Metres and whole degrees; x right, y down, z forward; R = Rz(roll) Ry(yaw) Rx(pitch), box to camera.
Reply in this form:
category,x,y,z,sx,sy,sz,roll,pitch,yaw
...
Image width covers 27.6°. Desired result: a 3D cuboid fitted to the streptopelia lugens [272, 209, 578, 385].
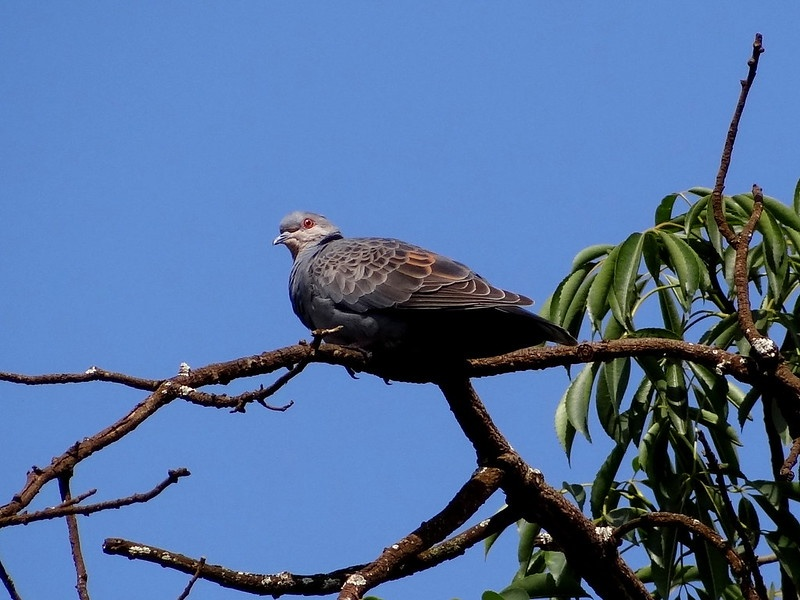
category,x,y,z,sx,sy,sz,roll,pitch,yaw
streptopelia lugens,0.085,-0.078,9.494,1.682,1.015,0.722,-1,-28,17
